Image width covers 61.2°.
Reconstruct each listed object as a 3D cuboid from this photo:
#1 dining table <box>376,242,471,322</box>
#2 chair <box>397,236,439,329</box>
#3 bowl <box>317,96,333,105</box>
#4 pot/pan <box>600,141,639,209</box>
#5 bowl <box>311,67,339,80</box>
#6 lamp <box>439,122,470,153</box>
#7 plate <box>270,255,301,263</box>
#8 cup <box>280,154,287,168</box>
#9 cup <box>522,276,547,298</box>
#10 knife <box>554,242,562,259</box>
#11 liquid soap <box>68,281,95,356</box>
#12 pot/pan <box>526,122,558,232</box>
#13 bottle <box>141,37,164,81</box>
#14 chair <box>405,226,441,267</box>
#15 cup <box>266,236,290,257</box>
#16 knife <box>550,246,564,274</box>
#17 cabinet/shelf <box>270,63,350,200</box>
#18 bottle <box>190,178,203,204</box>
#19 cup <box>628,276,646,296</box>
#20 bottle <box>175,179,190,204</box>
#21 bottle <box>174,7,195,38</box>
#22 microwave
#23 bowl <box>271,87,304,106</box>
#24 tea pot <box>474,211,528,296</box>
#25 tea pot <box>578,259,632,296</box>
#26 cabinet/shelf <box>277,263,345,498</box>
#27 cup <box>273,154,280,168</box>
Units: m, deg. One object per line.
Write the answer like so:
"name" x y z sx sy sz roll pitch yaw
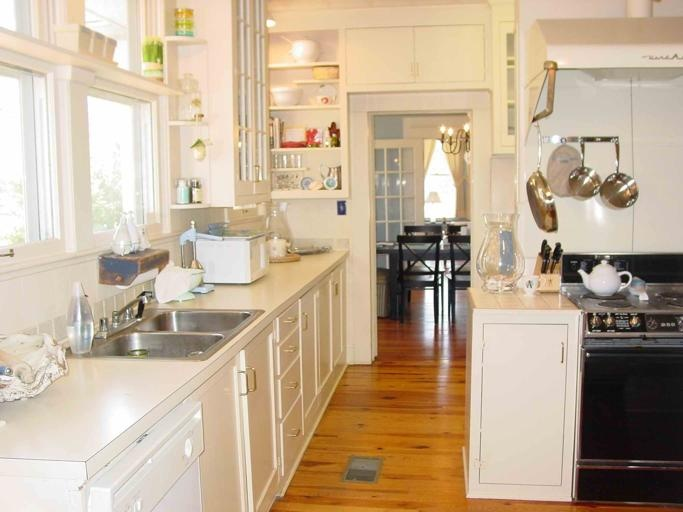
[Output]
"dining table" 0.896 0.198 6.663 1.293 1.109 0.797 1 20 12
"chair" 0.872 0.247 6.415 0.566 0.953 0.621 2 4 20
"bowl" -0.125 -1.258 4.673 0.089 0.053 0.088 2 16 0
"pot/pan" 1.532 -0.432 3.209 0.151 0.088 0.296 0 -27 28
"bowl" -0.117 -1.438 4.577 0.129 0.048 0.135 0 11 0
"lamp" 1.704 -1.787 8.889 0.352 0.418 0.383 10 1 6
"plate" -0.425 0.016 4.361 0.221 0.043 0.172 0 12 -1
"cup" -0.464 -0.779 4.751 0.061 0.097 0.041 -7 15 -29
"cup" 1.017 0.170 3.097 0.133 0.119 0.086 -1 2 0
"knife" 1.170 -0.023 3.131 0.051 0.064 0.084 -1 8 10
"liquid soap" -1.002 0.234 2.204 0.092 0.268 0.150 -6 15 -25
"pot/pan" 1.051 -0.390 3.056 0.080 0.507 0.284 -3 -4 2
"bottle" -0.940 -0.981 2.861 0.102 0.221 0.158 -4 14 -18
"chair" 0.968 -0.159 6.800 0.481 0.557 0.388 1 17 9
"cup" -0.483 -0.073 4.351 0.151 0.106 0.111 1 1 -7
"knife" 1.167 0.012 3.134 0.049 0.168 0.013 12 18 12
"cabinet/shelf" -0.268 -1.009 4.769 0.630 1.093 0.432 -1 13 -5
"bottle" -0.817 -0.368 3.265 0.061 0.136 0.137 -2 13 -12
"cup" 1.562 0.157 3.045 0.073 0.042 0.100 -2 19 5
"bottle" -0.878 -0.356 3.197 0.079 0.133 0.103 -3 13 -16
"bottle" -0.852 -1.262 3.128 0.091 0.156 0.116 -3 14 -16
"microwave" -0.659 0.005 3.591 0.325 0.273 0.459 -2 5 4
"bowl" -0.451 -1.279 4.683 0.184 0.088 0.180 -1 11 0
"tea pot" 0.836 -0.032 3.311 0.383 0.588 0.380 1 5 0
"tea pot" 1.409 0.115 3.108 0.272 0.187 0.182 3 5 23
"cabinet/shelf" -0.188 0.744 3.389 0.224 0.541 1.121 3 18 16
"cup" -0.537 -0.781 4.772 0.066 0.115 0.117 0 3 -3
